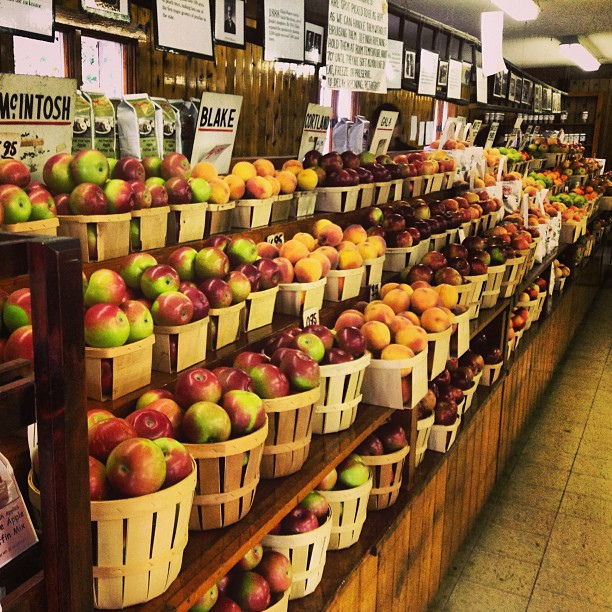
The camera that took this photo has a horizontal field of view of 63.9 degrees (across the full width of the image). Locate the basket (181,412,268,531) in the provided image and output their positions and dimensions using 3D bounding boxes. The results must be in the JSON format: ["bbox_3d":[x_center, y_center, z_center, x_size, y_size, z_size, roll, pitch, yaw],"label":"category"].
[{"bbox_3d":[-0.186,0.363,1.120,0.185,0.160,0.204,0,6,-5],"label":"basket"}]

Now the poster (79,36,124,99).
[{"bbox_3d":[-1.778,-2.116,4.278,0.434,0.451,0.020,12,21,6],"label":"poster"}]

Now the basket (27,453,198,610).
[{"bbox_3d":[-0.283,0.387,0.793,0.250,0.188,0.275,1,4,-5],"label":"basket"}]

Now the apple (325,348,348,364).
[{"bbox_3d":[0.095,0.155,1.527,0.047,0.048,0.049,-1,8,6],"label":"apple"}]

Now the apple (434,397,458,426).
[{"bbox_3d":[0.681,0.513,2.462,0.112,0.128,0.121,-4,16,-3],"label":"apple"}]

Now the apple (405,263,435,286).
[{"bbox_3d":[0.595,-0.173,2.549,0.114,0.133,0.121,21,0,-26],"label":"apple"}]

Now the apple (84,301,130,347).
[{"bbox_3d":[-0.474,0.052,1.148,0.100,0.106,0.099,20,22,29],"label":"apple"}]

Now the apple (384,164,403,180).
[{"bbox_3d":[0.518,-0.795,2.898,0.099,0.095,0.098,-24,20,-27],"label":"apple"}]

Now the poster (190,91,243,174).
[{"bbox_3d":[-0.346,-0.696,1.947,0.169,0.305,0.381,3,14,14],"label":"poster"}]

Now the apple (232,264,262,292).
[{"bbox_3d":[-0.190,-0.096,1.623,0.053,0.095,0.122,5,15,24],"label":"apple"}]

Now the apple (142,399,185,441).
[{"bbox_3d":[-0.302,0.244,1.115,0.086,0.091,0.104,-19,-21,23],"label":"apple"}]

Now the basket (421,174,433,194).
[{"bbox_3d":[0.792,-0.828,3.234,0.097,0.107,0.101,11,23,23],"label":"basket"}]

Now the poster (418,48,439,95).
[{"bbox_3d":[1.155,-2.270,4.663,0.039,0.613,0.451,-2,-24,26],"label":"poster"}]

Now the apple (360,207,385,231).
[{"bbox_3d":[0.345,-0.472,2.609,0.126,0.126,0.120,13,12,31],"label":"apple"}]

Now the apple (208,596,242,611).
[{"bbox_3d":[-0.189,0.712,1.160,0.047,0.030,0.036,5,-28,-26],"label":"apple"}]

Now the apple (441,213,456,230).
[{"bbox_3d":[0.905,-0.549,3.104,0.107,0.102,0.104,-7,10,-42],"label":"apple"}]

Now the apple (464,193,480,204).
[{"bbox_3d":[1.241,-0.827,3.677,0.077,0.073,0.162,8,16,33],"label":"apple"}]

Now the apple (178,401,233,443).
[{"bbox_3d":[-0.220,0.279,1.093,0.112,0.113,0.127,4,12,-18],"label":"apple"}]

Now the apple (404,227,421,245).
[{"bbox_3d":[0.585,-0.398,2.692,0.096,0.094,0.094,1,-6,-35],"label":"apple"}]

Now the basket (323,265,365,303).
[{"bbox_3d":[0.172,-0.109,2.120,0.132,0.112,0.173,9,14,38],"label":"basket"}]

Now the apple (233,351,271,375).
[{"bbox_3d":[-0.151,0.162,1.413,0.064,0.067,0.064,2,-2,-13],"label":"apple"}]

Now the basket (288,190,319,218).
[{"bbox_3d":[-0.011,-0.493,2.281,0.098,0.081,0.152,16,23,34],"label":"basket"}]

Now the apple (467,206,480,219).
[{"bbox_3d":[1.184,-0.670,3.465,0.091,0.095,0.091,0,3,-2],"label":"apple"}]

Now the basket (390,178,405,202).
[{"bbox_3d":[0.547,-0.704,2.916,0.114,0.101,0.129,7,18,28],"label":"basket"}]

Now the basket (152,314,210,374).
[{"bbox_3d":[-0.348,0.101,1.400,0.138,0.108,0.143,4,8,30],"label":"basket"}]

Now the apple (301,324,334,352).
[{"bbox_3d":[0.038,0.099,1.617,0.076,0.080,0.076,1,6,-30],"label":"apple"}]

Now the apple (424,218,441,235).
[{"bbox_3d":[0.748,-0.480,2.859,0.073,0.056,0.098,-6,-2,7],"label":"apple"}]

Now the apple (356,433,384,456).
[{"bbox_3d":[0.247,0.529,1.844,0.110,0.069,0.064,-7,15,-24],"label":"apple"}]

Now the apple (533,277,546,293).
[{"bbox_3d":[2.092,-0.207,4.453,0.126,0.159,0.132,-1,3,18],"label":"apple"}]

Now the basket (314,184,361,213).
[{"bbox_3d":[0.148,-0.534,2.429,0.147,0.086,0.175,6,12,25],"label":"basket"}]

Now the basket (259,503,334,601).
[{"bbox_3d":[-0.019,0.729,1.490,0.192,0.174,0.219,0,2,-2],"label":"basket"}]

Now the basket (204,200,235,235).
[{"bbox_3d":[-0.295,-0.334,1.793,0.097,0.084,0.134,11,17,26],"label":"basket"}]

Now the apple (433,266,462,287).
[{"bbox_3d":[0.759,-0.169,2.599,0.122,0.092,0.208,12,19,43],"label":"apple"}]

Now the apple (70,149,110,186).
[{"bbox_3d":[-0.567,-0.375,1.299,0.088,0.094,0.091,7,26,34],"label":"apple"}]

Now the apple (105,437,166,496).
[{"bbox_3d":[-0.281,0.267,0.808,0.092,0.073,0.068,-4,14,-12],"label":"apple"}]

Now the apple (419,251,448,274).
[{"bbox_3d":[0.695,-0.270,2.686,0.121,0.127,0.122,16,24,23],"label":"apple"}]

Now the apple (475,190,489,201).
[{"bbox_3d":[1.372,-0.878,3.816,0.087,0.092,0.088,1,1,19],"label":"apple"}]

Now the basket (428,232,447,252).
[{"bbox_3d":[0.796,-0.396,2.933,0.109,0.099,0.127,5,9,37],"label":"basket"}]

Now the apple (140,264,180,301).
[{"bbox_3d":[-0.402,-0.077,1.353,0.095,0.097,0.091,-10,9,-24],"label":"apple"}]

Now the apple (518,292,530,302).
[{"bbox_3d":[1.779,-0.088,4.024,0.077,0.097,0.080,-1,4,9],"label":"apple"}]

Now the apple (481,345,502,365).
[{"bbox_3d":[1.223,0.317,3.243,0.094,0.105,0.131,-4,9,27],"label":"apple"}]

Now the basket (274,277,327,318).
[{"bbox_3d":[-0.027,-0.045,1.886,0.133,0.095,0.180,6,9,37],"label":"basket"}]
